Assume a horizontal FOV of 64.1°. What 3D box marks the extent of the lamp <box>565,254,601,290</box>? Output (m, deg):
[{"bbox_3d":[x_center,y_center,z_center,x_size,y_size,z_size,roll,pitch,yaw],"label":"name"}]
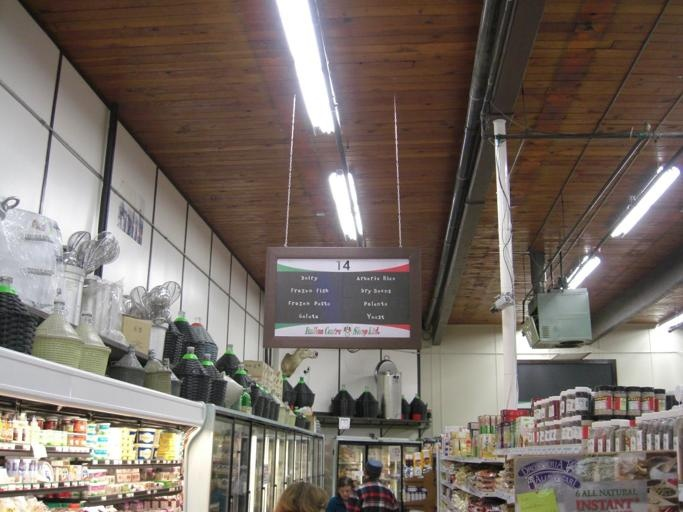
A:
[{"bbox_3d":[4.730,0.284,10.736,0.179,0.080,1.034,41,-26,14],"label":"lamp"}]
